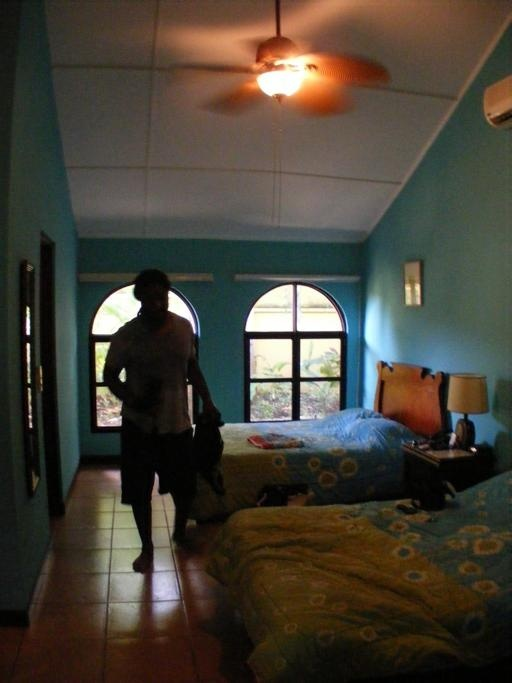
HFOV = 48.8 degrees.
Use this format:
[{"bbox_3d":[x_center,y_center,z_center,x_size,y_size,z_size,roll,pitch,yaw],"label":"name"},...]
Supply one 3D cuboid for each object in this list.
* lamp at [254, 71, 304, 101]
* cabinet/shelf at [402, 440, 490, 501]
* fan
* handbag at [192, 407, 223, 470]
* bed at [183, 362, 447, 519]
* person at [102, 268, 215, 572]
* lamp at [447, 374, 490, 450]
[{"bbox_3d":[0.122,-1.233,2.713,0.200,0.105,0.128,1,6,15],"label":"lamp"},{"bbox_3d":[1.085,0.775,3.465,0.230,0.243,0.364,6,2,-22],"label":"cabinet/shelf"},{"bbox_3d":[0.239,-1.516,3.313,0.715,0.401,0.851,1,7,11],"label":"fan"},{"bbox_3d":[-0.264,0.552,3.121,0.107,0.288,0.222,3,2,-17],"label":"handbag"},{"bbox_3d":[0.403,0.702,4.329,1.735,0.901,1.250,-2,1,-8],"label":"bed"},{"bbox_3d":[-0.494,0.422,2.972,0.364,1.584,0.536,2,7,29],"label":"person"},{"bbox_3d":[1.272,0.431,3.385,0.228,0.446,0.228,5,2,25],"label":"lamp"}]
